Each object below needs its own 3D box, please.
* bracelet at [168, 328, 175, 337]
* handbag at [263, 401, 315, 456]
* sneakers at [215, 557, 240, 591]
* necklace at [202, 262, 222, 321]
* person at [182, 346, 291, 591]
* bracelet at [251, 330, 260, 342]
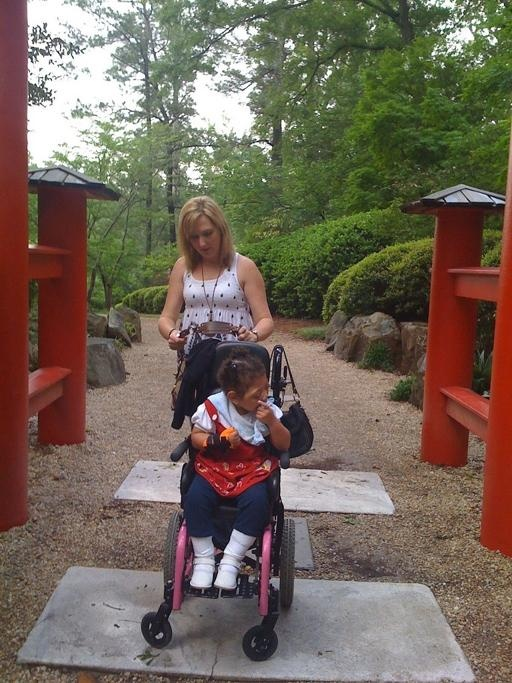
[{"bbox_3d":[-0.369,-0.041,2.632,0.034,0.010,0.032,-32,16,26],"label":"bracelet"},{"bbox_3d":[0.156,0.333,2.308,0.173,0.198,0.210,-5,5,-15],"label":"handbag"},{"bbox_3d":[-0.095,0.744,1.914,0.050,0.051,0.133,10,-5,2],"label":"sneakers"},{"bbox_3d":[-0.217,-0.217,2.793,0.102,0.227,0.080,3,8,14],"label":"necklace"},{"bbox_3d":[-0.065,0.417,2.070,0.367,0.759,0.451,2,8,2],"label":"person"},{"bbox_3d":[-0.001,-0.027,2.617,0.033,0.051,0.053,-5,16,-16],"label":"bracelet"}]
